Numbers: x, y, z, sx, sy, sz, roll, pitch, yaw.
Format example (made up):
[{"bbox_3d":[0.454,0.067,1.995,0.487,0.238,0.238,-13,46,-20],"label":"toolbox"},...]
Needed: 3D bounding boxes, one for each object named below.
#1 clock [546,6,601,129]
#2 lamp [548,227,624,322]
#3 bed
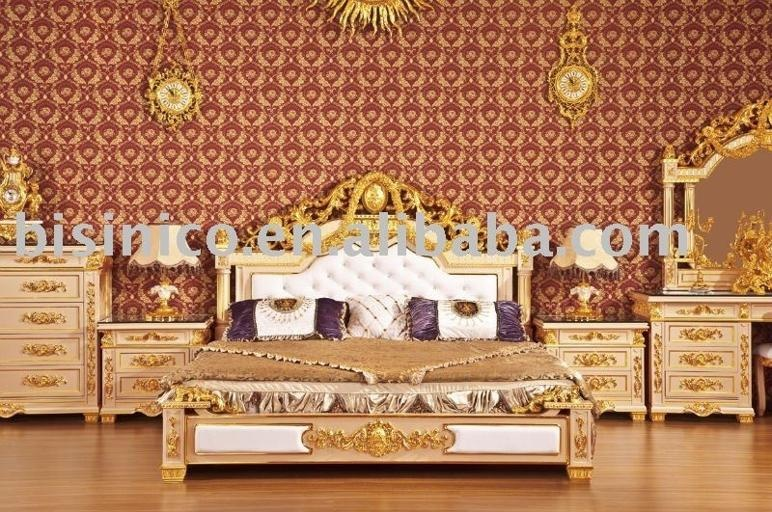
[{"bbox_3d":[1.947,-1.942,12.722,0.495,1.221,0.147,0,2,29],"label":"clock"},{"bbox_3d":[2.046,0.188,12.441,0.774,0.933,0.633,-1,0,13],"label":"lamp"},{"bbox_3d":[-0.114,0.823,12.013,3.889,2.252,2.659,0,3,0],"label":"bed"}]
